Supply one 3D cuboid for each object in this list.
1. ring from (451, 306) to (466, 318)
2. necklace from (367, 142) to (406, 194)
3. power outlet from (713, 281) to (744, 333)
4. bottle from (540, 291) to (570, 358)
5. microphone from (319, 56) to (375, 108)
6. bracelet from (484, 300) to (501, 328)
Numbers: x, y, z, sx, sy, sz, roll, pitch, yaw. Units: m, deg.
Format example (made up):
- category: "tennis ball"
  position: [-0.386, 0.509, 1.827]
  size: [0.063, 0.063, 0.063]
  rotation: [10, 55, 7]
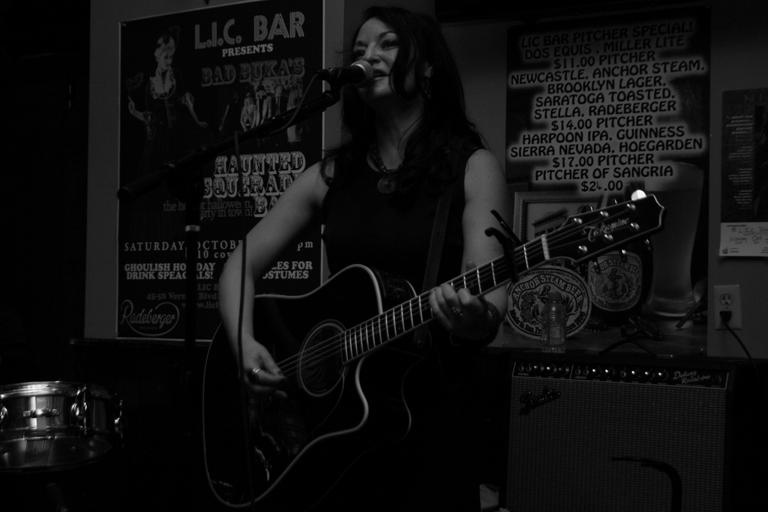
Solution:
- category: "ring"
  position: [0.229, 0.177, 2.482]
  size: [0.038, 0.031, 0.017]
  rotation: [1, -2, 17]
- category: "necklace"
  position: [0.012, -0.310, 2.774]
  size: [0.089, 0.167, 0.063]
  rotation: [0, -35, -18]
- category: "power outlet"
  position: [1.376, 0.211, 3.199]
  size: [0.095, 0.188, 0.019]
  rotation: [-1, -6, -23]
- category: "bottle"
  position: [0.684, 0.285, 3.185]
  size: [0.108, 0.256, 0.098]
  rotation: [3, -22, 1]
- category: "microphone"
  position: [-0.131, -0.604, 2.717]
  size: [0.194, 0.151, 0.082]
  rotation: [2, -2, -10]
- category: "bracelet"
  position: [0.342, 0.186, 2.518]
  size: [0.021, 0.092, 0.055]
  rotation: [-35, 1, 19]
